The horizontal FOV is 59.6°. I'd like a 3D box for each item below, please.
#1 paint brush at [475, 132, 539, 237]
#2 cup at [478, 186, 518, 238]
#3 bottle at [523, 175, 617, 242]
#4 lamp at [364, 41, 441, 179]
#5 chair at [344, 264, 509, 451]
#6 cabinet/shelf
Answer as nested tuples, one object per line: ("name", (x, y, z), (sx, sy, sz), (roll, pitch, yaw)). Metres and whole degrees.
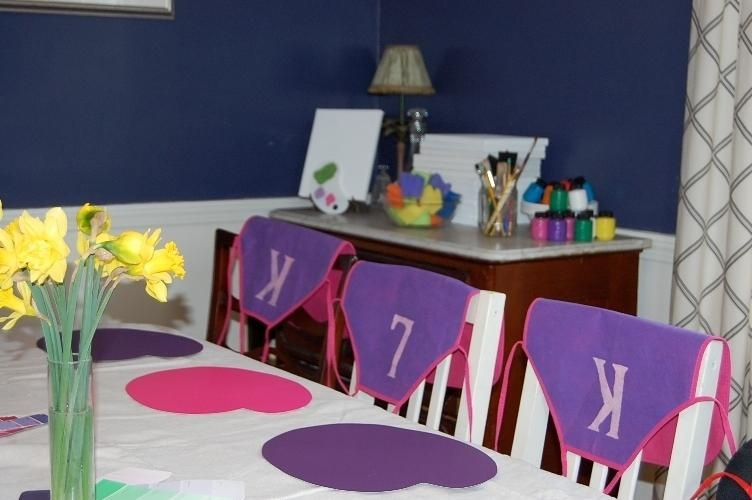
("paint brush", (0.500, -0.245, 2.489), (0.054, 0.430, 0.023), (25, 0, 6))
("cup", (0.461, -0.147, 2.429), (0.151, 0.255, 0.166), (-2, 7, -17))
("bottle", (0.707, -0.164, 2.406), (0.212, 0.201, 0.323), (-3, 7, -18))
("lamp", (0.125, -0.636, 3.153), (0.303, 0.698, 0.311), (-1, 25, -2))
("chair", (0.120, 0.235, 1.839), (0.353, 0.691, 0.446), (4, 3, 34))
("cabinet/shelf", (0.306, -0.002, 2.717), (0.760, 1.419, 1.360), (-1, 7, -33))
